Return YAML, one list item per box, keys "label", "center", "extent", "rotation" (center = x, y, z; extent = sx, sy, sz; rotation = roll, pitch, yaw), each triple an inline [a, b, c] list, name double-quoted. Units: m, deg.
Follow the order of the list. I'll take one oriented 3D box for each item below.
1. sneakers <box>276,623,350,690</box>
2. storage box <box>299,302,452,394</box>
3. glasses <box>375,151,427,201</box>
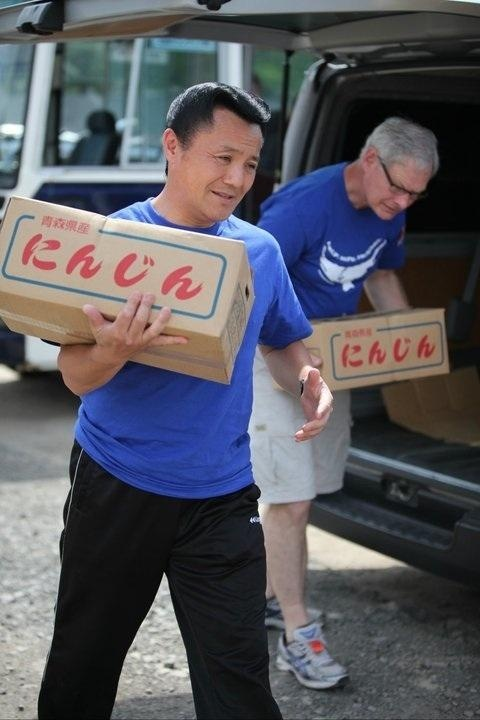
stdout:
- label: "sneakers"
  center: [0.229, 0.978, 2.459]
  extent: [0.120, 0.141, 0.291]
  rotation: [-4, 5, -40]
- label: "storage box"
  center: [0.433, -0.049, 2.573]
  extent: [0.531, 0.194, 0.283]
  rotation: [-8, 11, -30]
- label: "glasses"
  center: [0.514, -0.583, 2.384]
  extent: [0.150, 0.133, 0.039]
  rotation: [5, -29, -33]
